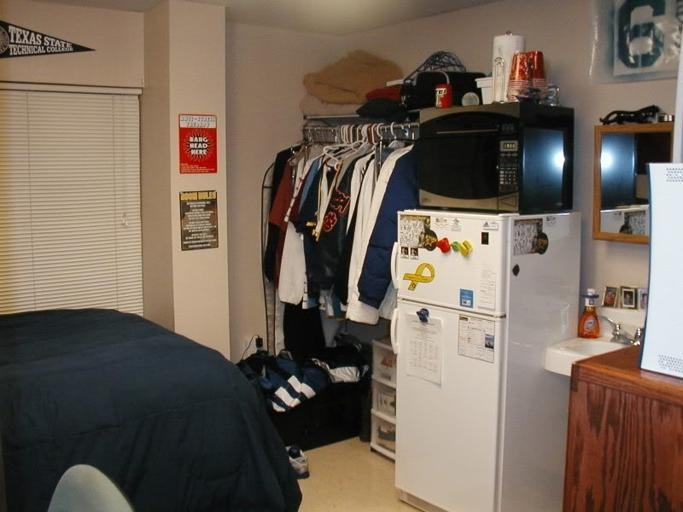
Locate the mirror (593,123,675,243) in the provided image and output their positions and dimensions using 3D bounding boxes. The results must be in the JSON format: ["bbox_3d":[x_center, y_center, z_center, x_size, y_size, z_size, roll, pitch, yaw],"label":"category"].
[{"bbox_3d":[1.508,-0.377,2.819,0.356,0.621,0.170,4,8,36],"label":"mirror"}]

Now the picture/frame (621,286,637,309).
[{"bbox_3d":[1.549,0.217,2.905,0.015,0.148,0.097,-1,6,-41],"label":"picture/frame"}]

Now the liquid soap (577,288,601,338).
[{"bbox_3d":[1.398,0.337,3.011,0.115,0.298,0.097,-6,-30,36],"label":"liquid soap"}]

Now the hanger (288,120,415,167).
[{"bbox_3d":[0.114,-0.792,3.748,0.300,0.316,1.171,-5,9,-35],"label":"hanger"}]

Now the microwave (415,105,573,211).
[{"bbox_3d":[0.841,-0.544,3.054,0.492,0.597,0.720,-9,13,-36],"label":"microwave"}]
